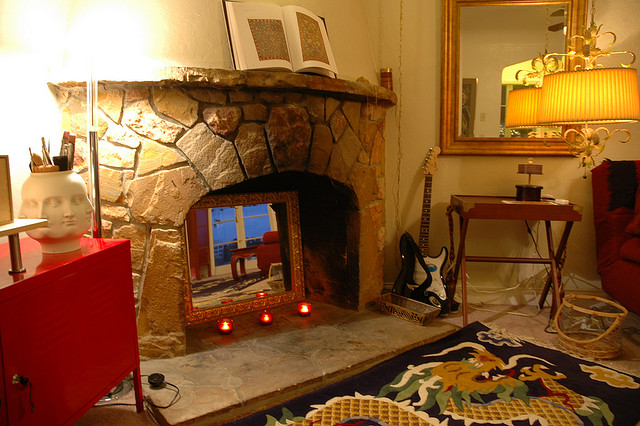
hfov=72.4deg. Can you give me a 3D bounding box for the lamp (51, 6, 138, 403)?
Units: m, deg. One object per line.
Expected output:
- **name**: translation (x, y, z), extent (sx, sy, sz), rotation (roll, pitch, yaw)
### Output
- **lamp**: translation (-1.132, -0.094, 2.398), extent (0.435, 2.057, 0.584), rotation (-7, 14, -26)

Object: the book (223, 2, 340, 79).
- **book**: translation (-0.221, -1.097, 2.766), extent (0.692, 0.434, 0.265), rotation (-8, 15, -31)

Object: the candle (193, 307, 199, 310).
- **candle**: translation (-0.850, 0.649, 2.985), extent (0.039, 0.020, 0.025), rotation (0, -5, -27)

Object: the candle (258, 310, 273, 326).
- **candle**: translation (-0.379, 0.747, 3.124), extent (0.098, 0.087, 0.091), rotation (-2, 4, -30)

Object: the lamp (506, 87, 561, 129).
- **lamp**: translation (1.528, -0.765, 3.195), extent (0.333, 0.245, 0.341), rotation (-1, 5, 2)

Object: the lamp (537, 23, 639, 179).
- **lamp**: translation (1.862, -0.773, 3.042), extent (0.628, 1.142, 0.755), rotation (5, 14, 24)

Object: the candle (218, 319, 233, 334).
- **candle**: translation (-0.638, 0.761, 2.944), extent (0.093, 0.081, 0.092), rotation (1, 1, 27)

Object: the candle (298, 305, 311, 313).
- **candle**: translation (-0.124, 0.692, 3.183), extent (0.060, 0.038, 0.059), rotation (-3, 5, -41)

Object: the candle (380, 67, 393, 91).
- **candle**: translation (0.492, -1.012, 3.291), extent (0.082, 0.166, 0.145), rotation (0, 12, 3)

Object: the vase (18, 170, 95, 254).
- **vase**: translation (-1.216, -0.010, 2.020), extent (0.264, 0.357, 0.325), rotation (5, 9, 30)

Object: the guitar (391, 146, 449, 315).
- **guitar**: translation (0.767, 0.244, 3.240), extent (0.367, 1.018, 0.339), rotation (-9, 15, -33)
